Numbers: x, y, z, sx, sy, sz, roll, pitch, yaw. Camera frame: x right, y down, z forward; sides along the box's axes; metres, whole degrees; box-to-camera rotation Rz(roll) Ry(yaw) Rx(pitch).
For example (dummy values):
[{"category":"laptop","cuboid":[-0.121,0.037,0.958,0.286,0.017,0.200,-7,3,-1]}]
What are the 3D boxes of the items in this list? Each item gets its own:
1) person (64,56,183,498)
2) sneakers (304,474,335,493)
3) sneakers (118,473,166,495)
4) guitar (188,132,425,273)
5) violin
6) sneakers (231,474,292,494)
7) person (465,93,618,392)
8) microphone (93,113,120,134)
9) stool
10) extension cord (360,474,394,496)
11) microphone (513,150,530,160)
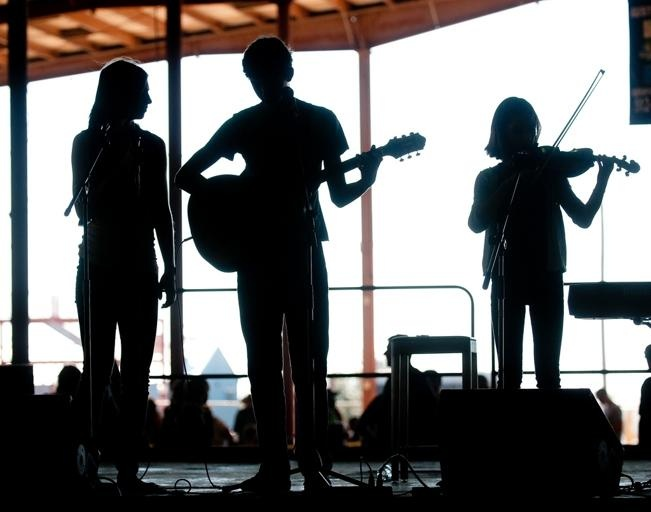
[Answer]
[{"category":"person","cuboid":[-0.946,0.099,5.678,0.478,2.005,0.373,-1,-10,1]},{"category":"sneakers","cuboid":[-0.030,1.021,5.425,0.124,0.089,0.114,1,-10,-11]},{"category":"sneakers","cuboid":[-0.841,1.050,5.597,0.224,0.116,0.143,1,-10,-9]},{"category":"guitar","cuboid":[-0.103,-0.342,5.608,1.135,0.465,0.159,-27,5,16]},{"category":"violin","cuboid":[1.246,-0.470,5.837,0.488,0.066,0.195,3,1,29]},{"category":"sneakers","cuboid":[-0.286,1.038,5.478,0.317,0.090,0.111,-10,-13,40]},{"category":"person","cuboid":[1.046,-0.061,5.941,0.690,1.419,0.312,-3,-10,10]},{"category":"microphone","cuboid":[-1.030,-0.599,5.727,0.096,0.071,0.022,-5,-18,35]},{"category":"stool","cuboid":[0.616,0.822,6.667,0.596,0.748,0.582,-3,5,-6]},{"category":"extension cord","cuboid":[0.234,1.059,5.457,0.141,0.054,0.208,-1,-10,2]},{"category":"microphone","cuboid":[0.955,-0.480,5.889,0.054,0.013,0.055,-24,20,-35]}]
